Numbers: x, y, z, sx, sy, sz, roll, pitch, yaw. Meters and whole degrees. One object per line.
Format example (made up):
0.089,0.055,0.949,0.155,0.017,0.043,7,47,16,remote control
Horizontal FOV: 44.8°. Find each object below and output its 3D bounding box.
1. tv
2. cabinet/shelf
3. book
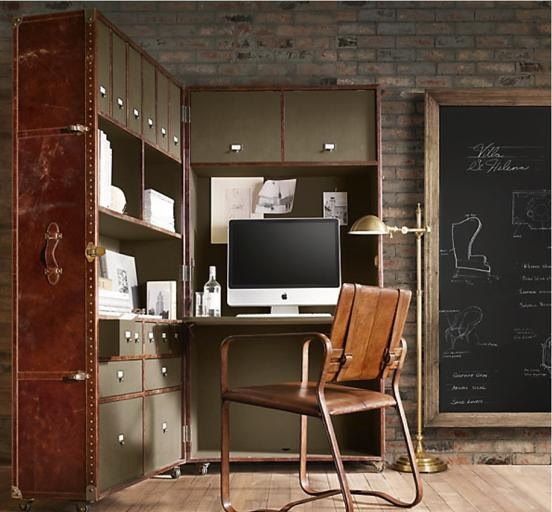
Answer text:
0.044,0.053,3.642,0.551,0.437,0.205,0,-14,0,tv
-0.514,0.011,4.115,2.161,2.722,2.175,-1,0,5,cabinet/shelf
-0.699,-0.144,3.357,0.322,0.808,0.943,-1,-9,5,book
